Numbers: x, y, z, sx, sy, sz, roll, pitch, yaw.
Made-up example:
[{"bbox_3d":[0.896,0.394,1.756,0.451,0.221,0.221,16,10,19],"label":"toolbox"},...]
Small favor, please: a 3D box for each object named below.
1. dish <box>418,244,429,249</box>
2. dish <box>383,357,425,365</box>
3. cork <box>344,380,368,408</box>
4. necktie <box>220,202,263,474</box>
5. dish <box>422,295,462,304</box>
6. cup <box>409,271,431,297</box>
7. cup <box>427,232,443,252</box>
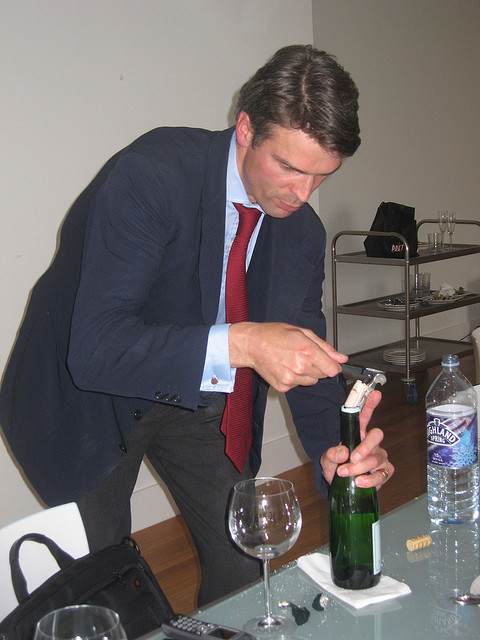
[{"bbox_3d":[1.224,-0.485,3.708,0.070,0.035,0.124,1,3,19],"label":"dish"},{"bbox_3d":[1.073,0.268,3.578,0.277,0.032,0.118,0,3,-5],"label":"dish"},{"bbox_3d":[0.139,0.088,0.667,0.010,0.030,0.023,25,-1,-36],"label":"cork"},{"bbox_3d":[-0.018,0.043,1.223,0.076,0.605,0.070,1,9,-39],"label":"necktie"},{"bbox_3d":[1.306,-0.126,3.594,0.241,0.048,0.246,1,3,20],"label":"dish"},{"bbox_3d":[1.232,-0.239,3.789,0.185,0.211,0.225,-1,-1,23],"label":"cup"},{"bbox_3d":[1.264,-0.507,3.683,0.126,0.139,0.118,0,0,0],"label":"cup"}]
